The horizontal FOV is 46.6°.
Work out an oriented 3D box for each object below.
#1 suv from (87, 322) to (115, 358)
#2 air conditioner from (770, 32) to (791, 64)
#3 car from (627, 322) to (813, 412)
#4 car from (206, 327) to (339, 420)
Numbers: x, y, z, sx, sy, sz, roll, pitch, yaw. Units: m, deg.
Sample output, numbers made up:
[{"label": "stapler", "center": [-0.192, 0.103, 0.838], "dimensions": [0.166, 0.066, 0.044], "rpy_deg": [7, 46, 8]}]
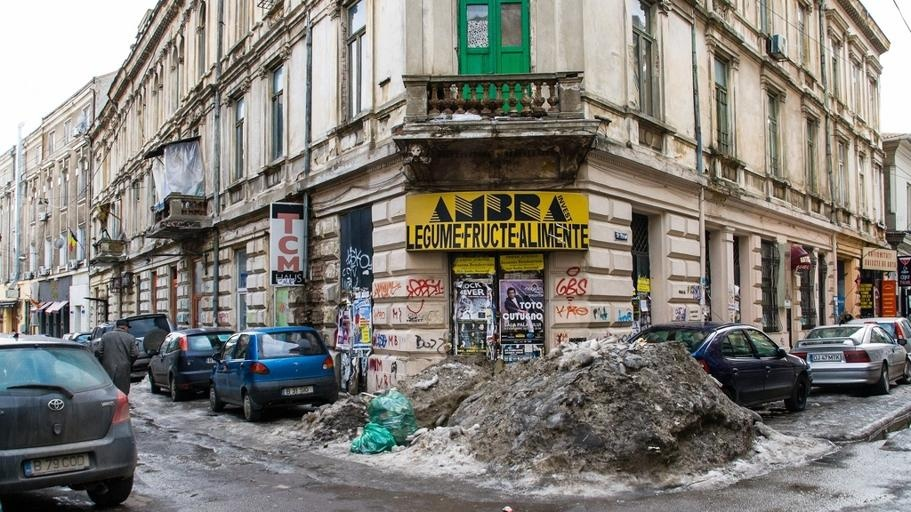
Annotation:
[{"label": "suv", "center": [-14.109, 3.352, 41.916], "dimensions": [1.267, 1.091, 2.069], "rpy_deg": [1, 0, -35]}, {"label": "air conditioner", "center": [14.590, -9.256, 47.238], "dimensions": [0.519, 1.417, 1.493], "rpy_deg": [-6, -13, 39]}, {"label": "car", "center": [9.695, 3.765, 36.863], "dimensions": [6.039, 2.209, 2.790], "rpy_deg": [2, -3, -35]}, {"label": "car", "center": [-7.075, 4.124, 39.103], "dimensions": [2.625, 2.252, 4.463], "rpy_deg": [2, -2, -32]}]
